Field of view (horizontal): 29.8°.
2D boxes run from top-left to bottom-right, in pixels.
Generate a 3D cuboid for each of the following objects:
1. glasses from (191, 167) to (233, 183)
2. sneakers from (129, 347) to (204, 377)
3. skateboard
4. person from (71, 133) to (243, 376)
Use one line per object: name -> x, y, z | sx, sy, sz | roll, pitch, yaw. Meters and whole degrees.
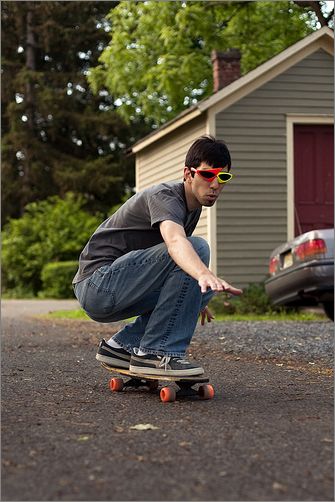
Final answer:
glasses -> 0.220, -0.411, 3.384 | 0.123, 0.043, 0.123 | 10, 0, -33
sneakers -> -0.005, 0.566, 3.231 | 0.366, 0.133, 0.139 | 1, -6, 10
skateboard -> -0.072, 0.690, 3.452 | 0.230, 0.118, 0.696 | 5, -9, -36
person -> 0.021, 0.027, 3.390 | 0.619, 1.298, 1.105 | -5, 5, -39
